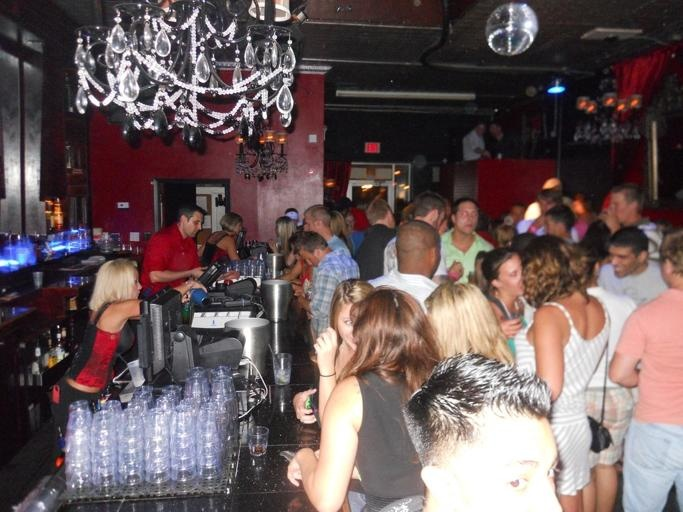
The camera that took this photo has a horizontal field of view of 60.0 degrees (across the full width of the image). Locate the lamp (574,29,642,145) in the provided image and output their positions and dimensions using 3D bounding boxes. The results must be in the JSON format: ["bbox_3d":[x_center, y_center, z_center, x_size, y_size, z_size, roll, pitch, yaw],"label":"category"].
[{"bbox_3d":[3.797,-2.463,8.397,0.877,1.531,0.918,0,12,26],"label":"lamp"}]

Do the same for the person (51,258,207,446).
[{"bbox_3d":[-1.499,0.885,4.172,0.912,1.674,0.506,4,19,-25],"label":"person"}]

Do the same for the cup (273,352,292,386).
[{"bbox_3d":[-0.394,0.763,3.947,0.145,0.177,0.148,0,-7,0],"label":"cup"}]

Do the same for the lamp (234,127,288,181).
[{"bbox_3d":[-1.223,-1.520,8.722,0.657,0.890,0.592,0,-2,-29],"label":"lamp"}]

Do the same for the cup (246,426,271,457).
[{"bbox_3d":[-0.444,1.004,3.196,0.119,0.126,0.142,1,-6,1],"label":"cup"}]

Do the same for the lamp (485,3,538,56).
[{"bbox_3d":[1.490,-2.003,5.371,0.465,0.370,0.494,2,-2,0],"label":"lamp"}]
